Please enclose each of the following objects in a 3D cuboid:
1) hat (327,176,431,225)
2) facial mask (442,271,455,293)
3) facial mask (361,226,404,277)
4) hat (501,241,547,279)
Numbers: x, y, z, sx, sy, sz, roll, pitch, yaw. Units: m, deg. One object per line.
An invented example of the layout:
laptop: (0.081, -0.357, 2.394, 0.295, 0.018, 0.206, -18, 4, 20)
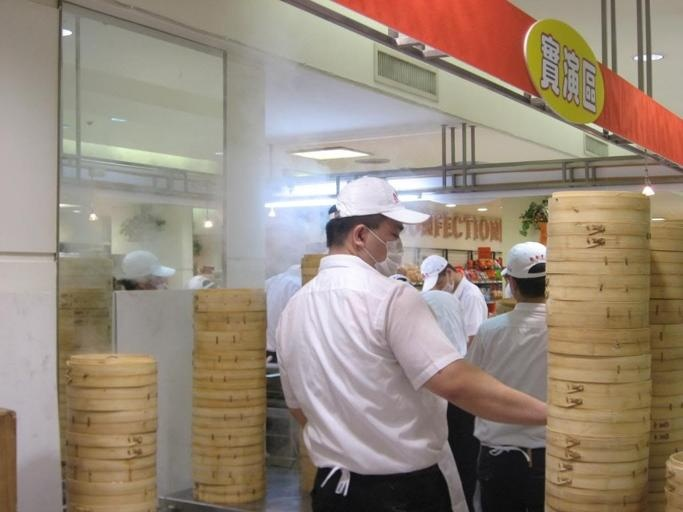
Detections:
hat: (0.128, -0.197, 2.208, 0.271, 0.133, 0.177, -2, 0, 0)
facial mask: (1.154, 0.271, 6.378, 0.179, 0.234, 0.136, 2, 4, 40)
facial mask: (0.171, -0.015, 2.440, 0.180, 0.110, 0.147, 22, 6, -5)
hat: (0.915, 0.018, 2.935, 0.197, 0.151, 0.284, -1, -2, -7)
